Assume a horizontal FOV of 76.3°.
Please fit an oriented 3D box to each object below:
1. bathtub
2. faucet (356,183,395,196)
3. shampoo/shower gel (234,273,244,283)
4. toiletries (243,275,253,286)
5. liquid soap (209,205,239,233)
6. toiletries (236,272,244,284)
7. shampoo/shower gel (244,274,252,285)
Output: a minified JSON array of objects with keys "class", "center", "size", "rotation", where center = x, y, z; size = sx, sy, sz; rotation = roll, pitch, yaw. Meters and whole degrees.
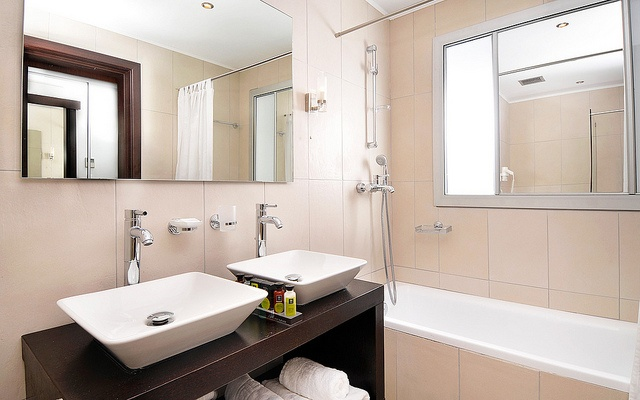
[{"class":"bathtub","center":[1.270,1.029,3.054],"size":[1.835,0.432,0.875],"rotation":[0,5,30]},{"class":"faucet","center":[0.468,-0.108,3.565],"size":[0.303,0.096,0.299],"rotation":[-2,4,5]},{"class":"shampoo/shower gel","center":[-0.459,0.442,2.319],"size":[0.049,0.043,0.047],"rotation":[2,-1,-1]},{"class":"toiletries","center":[-0.407,0.451,2.292],"size":[0.050,0.042,0.048],"rotation":[1,-1,-8]},{"class":"liquid soap","center":[-0.587,0.119,2.550],"size":[0.192,0.174,0.181],"rotation":[-5,5,-28]},{"class":"toiletries","center":[-0.460,0.450,2.341],"size":[0.047,0.046,0.045],"rotation":[1,4,3]},{"class":"shampoo/shower gel","center":[-0.407,0.448,2.294],"size":[0.045,0.039,0.045],"rotation":[3,0,43]}]
